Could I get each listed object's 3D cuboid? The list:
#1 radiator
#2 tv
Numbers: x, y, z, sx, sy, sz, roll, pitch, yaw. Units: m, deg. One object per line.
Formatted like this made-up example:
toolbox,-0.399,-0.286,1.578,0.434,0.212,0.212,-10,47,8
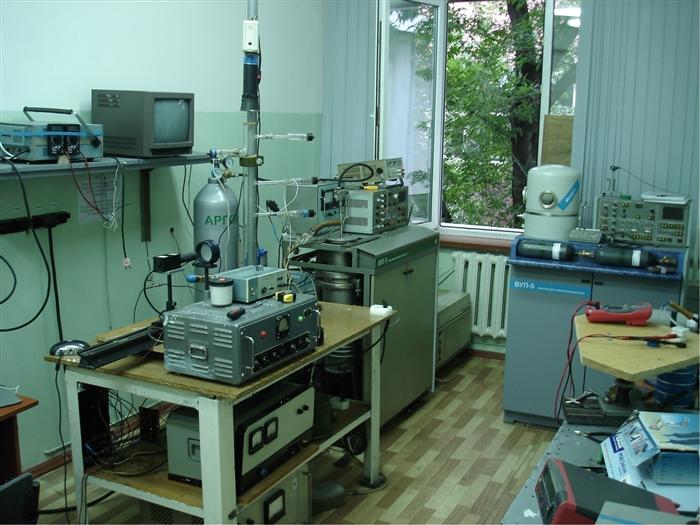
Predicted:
radiator,1.136,0.269,5.562,0.705,0.752,0.120,6,11,36
tv,-1.255,-0.809,3.917,0.469,0.429,0.476,5,9,24
